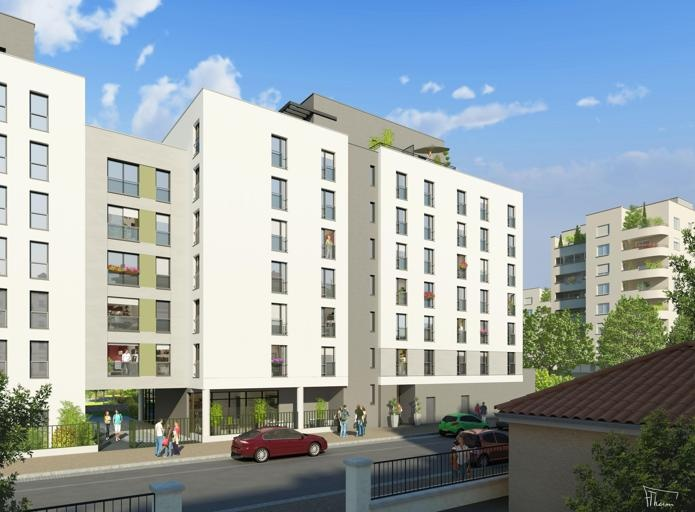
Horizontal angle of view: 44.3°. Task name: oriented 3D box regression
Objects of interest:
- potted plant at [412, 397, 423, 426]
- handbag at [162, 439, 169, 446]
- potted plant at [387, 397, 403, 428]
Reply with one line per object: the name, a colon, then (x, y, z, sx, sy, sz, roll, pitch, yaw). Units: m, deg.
potted plant: (5.339, 11.866, 65.222, 0.506, 2.160, 1.307, -6, -15, 14)
handbag: (-10.632, 10.967, 50.144, 0.390, 0.456, 0.813, 1, -15, -11)
potted plant: (3.616, 11.913, 64.435, 0.921, 2.238, 2.330, -6, -15, 13)
